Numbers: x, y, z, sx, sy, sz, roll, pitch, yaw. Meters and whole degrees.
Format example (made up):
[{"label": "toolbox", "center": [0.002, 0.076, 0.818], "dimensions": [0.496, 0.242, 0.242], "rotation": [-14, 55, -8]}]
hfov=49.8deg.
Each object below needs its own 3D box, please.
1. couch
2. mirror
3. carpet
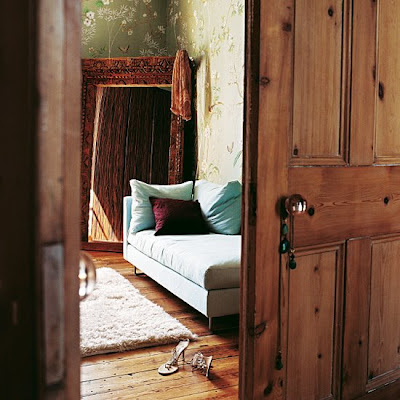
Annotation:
[{"label": "couch", "center": [-0.038, 0.329, 2.726], "dimensions": [0.594, 0.590, 0.972], "rotation": [-1, 4, -30]}, {"label": "mirror", "center": [-0.897, -0.627, 4.678], "dimensions": [1.013, 2.245, 0.495], "rotation": [0, 5, -11]}, {"label": "carpet", "center": [-0.466, 0.662, 2.831], "dimensions": [0.630, 0.144, 1.218], "rotation": [1, 6, -18]}]
